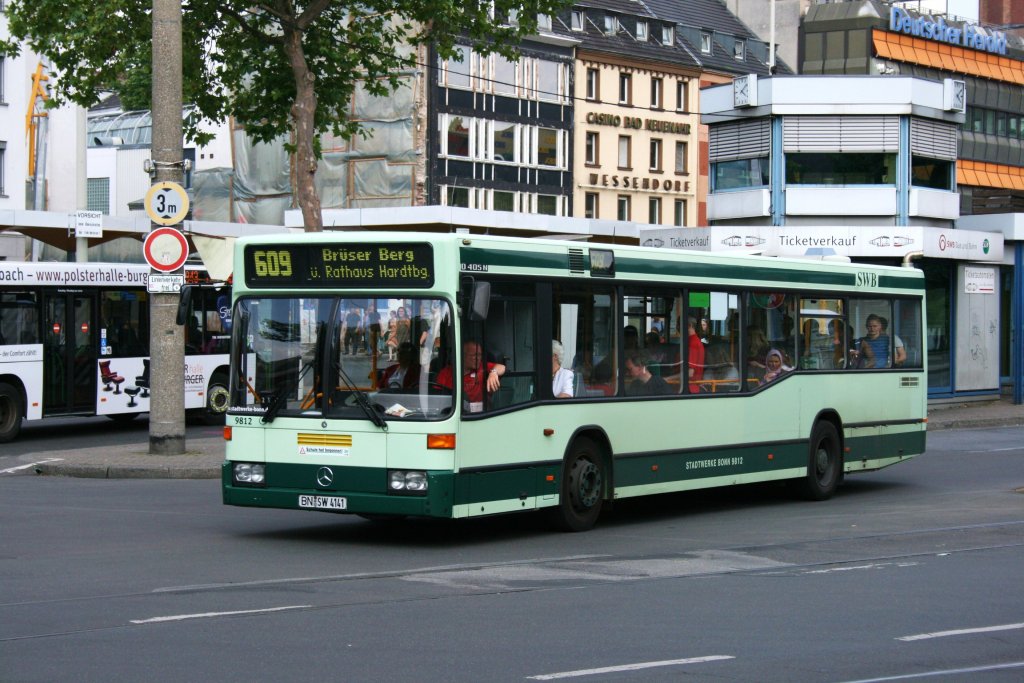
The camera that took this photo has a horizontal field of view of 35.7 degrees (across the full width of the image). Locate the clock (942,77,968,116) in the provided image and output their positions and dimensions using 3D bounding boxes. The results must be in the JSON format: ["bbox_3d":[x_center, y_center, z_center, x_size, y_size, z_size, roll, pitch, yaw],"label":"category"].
[{"bbox_3d":[12.706,-7.023,45.937,0.554,0.985,0.797,4,7,27],"label":"clock"}]

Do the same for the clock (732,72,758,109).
[{"bbox_3d":[6.758,-7.193,46.075,0.360,0.899,0.808,-5,8,-40],"label":"clock"}]
